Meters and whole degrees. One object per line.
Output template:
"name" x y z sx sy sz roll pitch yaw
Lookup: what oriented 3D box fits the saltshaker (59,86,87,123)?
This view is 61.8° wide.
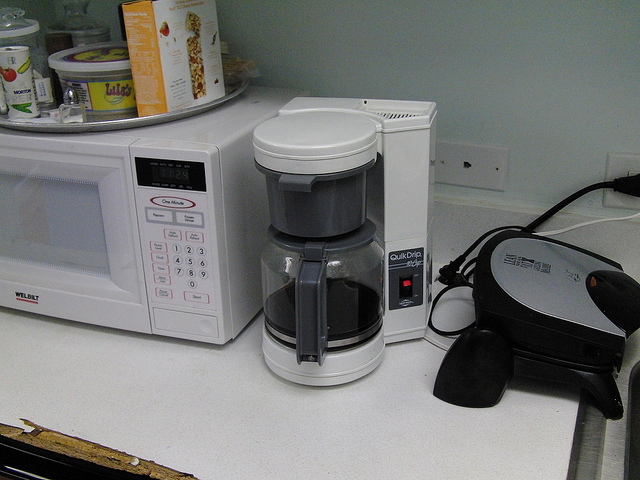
"saltshaker" -0.483 -0.257 1.042 0.043 0.071 0.068 -3 6 -10

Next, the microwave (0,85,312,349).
"microwave" -0.340 0.027 1.268 0.667 0.444 0.466 7 28 14
